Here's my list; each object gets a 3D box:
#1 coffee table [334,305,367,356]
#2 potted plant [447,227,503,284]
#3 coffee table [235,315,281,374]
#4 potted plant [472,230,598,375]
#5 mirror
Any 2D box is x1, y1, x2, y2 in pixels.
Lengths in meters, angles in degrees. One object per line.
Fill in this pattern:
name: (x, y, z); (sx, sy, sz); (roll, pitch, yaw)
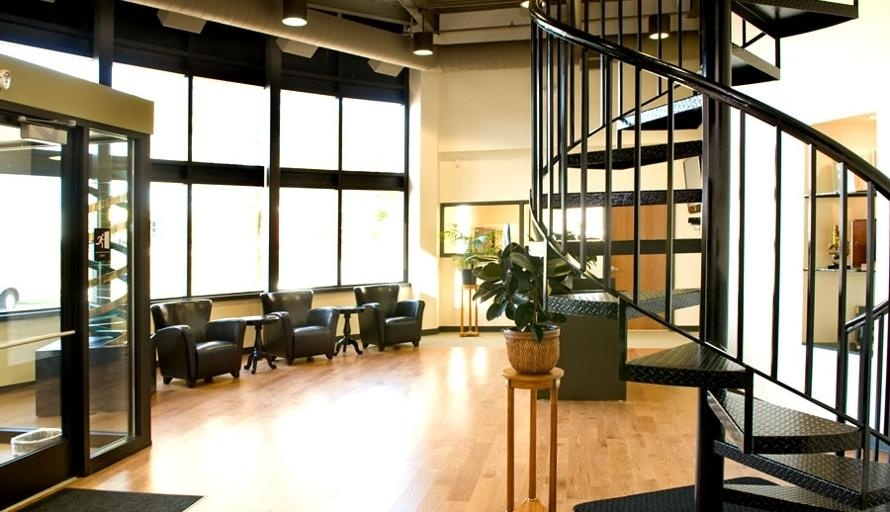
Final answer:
coffee table: (-1.761, 1.311, 12.001); (0.796, 0.847, 0.758); (0, -6, -5)
potted plant: (0.631, -0.099, 13.029); (1.178, 1.054, 1.319); (1, 1, 9)
coffee table: (-3.016, 1.392, 10.766); (0.916, 1.010, 0.845); (0, -2, -26)
potted plant: (0.864, 0.454, 6.847); (1.408, 1.283, 1.231); (1, 5, 23)
mirror: (0.796, -0.522, 12.812); (1.314, 0.706, 0.046); (-1, -2, 9)
